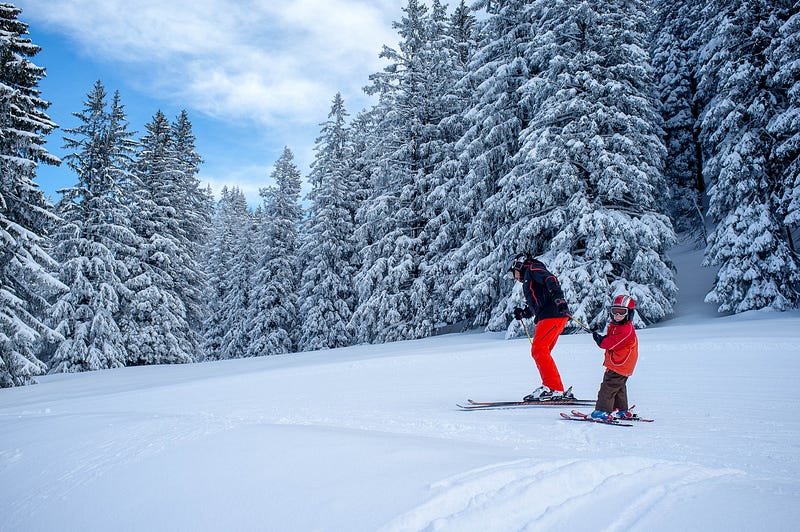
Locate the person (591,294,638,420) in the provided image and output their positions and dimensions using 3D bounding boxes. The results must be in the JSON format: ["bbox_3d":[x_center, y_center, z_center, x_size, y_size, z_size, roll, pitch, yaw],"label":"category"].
[{"bbox_3d":[5.092,2.205,14.584,0.969,3.069,0.500,-4,-1,19],"label":"person"}]
